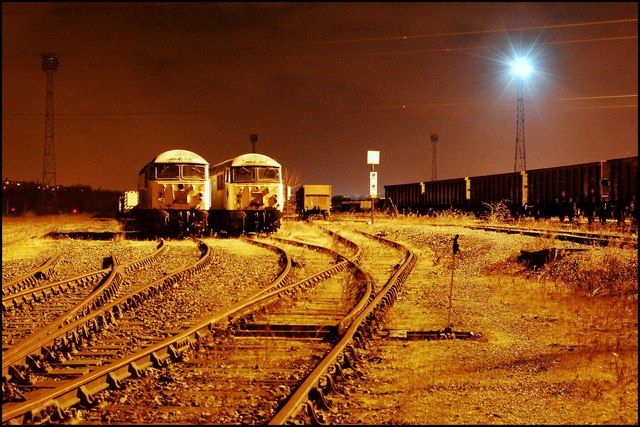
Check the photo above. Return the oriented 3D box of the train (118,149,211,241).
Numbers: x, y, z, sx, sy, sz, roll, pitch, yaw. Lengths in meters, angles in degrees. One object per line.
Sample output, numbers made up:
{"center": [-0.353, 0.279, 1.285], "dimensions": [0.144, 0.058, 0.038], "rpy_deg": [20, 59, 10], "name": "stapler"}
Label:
{"center": [-7.474, -1.014, 30.487], "dimensions": [2.800, 4.438, 5.889], "rpy_deg": [-2, 6, -26], "name": "train"}
